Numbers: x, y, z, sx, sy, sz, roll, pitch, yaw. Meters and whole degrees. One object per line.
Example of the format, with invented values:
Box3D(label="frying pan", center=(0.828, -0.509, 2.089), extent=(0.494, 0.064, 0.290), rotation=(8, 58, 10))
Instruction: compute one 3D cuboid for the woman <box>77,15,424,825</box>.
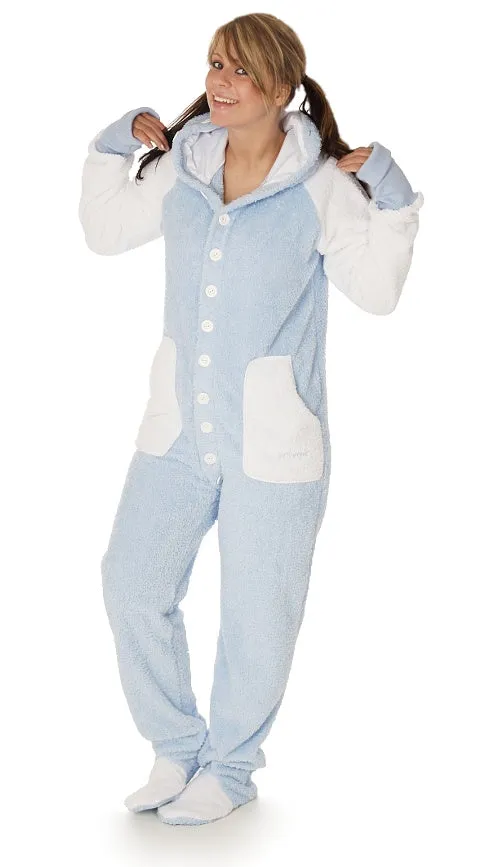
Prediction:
Box3D(label="woman", center=(-0.038, 0.006, 2.332), extent=(0.562, 2.166, 0.898), rotation=(7, -7, -42))

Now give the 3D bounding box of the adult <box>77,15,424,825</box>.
Box3D(label="adult", center=(-0.038, 0.006, 2.332), extent=(0.562, 2.166, 0.898), rotation=(7, -7, -42))
